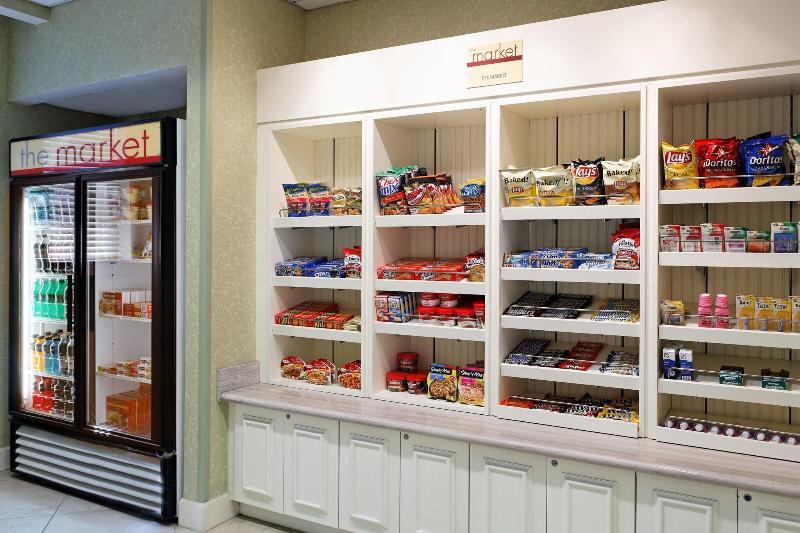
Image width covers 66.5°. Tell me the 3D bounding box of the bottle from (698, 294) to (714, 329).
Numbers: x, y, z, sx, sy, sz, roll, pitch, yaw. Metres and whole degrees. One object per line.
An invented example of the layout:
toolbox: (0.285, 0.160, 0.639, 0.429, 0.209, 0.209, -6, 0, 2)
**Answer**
bottle: (1.763, 0.246, 3.537, 0.078, 0.178, 0.137, 0, 7, 26)

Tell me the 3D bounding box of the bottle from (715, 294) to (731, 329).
bottle: (1.844, 0.248, 3.510, 0.077, 0.187, 0.116, 0, 7, 27)

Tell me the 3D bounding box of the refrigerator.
refrigerator: (-2.380, 0.369, 4.763, 1.812, 2.859, 0.713, 2, 7, 35)
